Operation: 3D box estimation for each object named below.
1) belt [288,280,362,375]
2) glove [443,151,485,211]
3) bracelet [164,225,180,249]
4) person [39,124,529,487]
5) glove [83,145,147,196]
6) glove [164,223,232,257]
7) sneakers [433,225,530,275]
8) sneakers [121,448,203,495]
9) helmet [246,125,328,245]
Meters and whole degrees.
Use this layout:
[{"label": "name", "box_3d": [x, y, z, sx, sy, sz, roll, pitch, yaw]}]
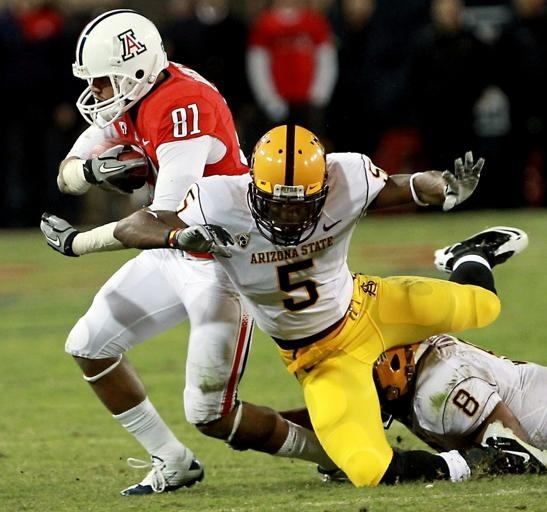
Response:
[{"label": "belt", "box_3d": [0.186, 0.275, 3.004, 0.282, 0.296, 0.103, 3, -20, 36]}, {"label": "glove", "box_3d": [0.691, -0.258, 2.930, 0.143, 0.268, 0.312, -1, 34, 11]}, {"label": "bracelet", "box_3d": [-0.339, -0.059, 2.739, 0.051, 0.063, 0.041, 44, 32, 20]}, {"label": "person", "box_3d": [0.022, 0.255, 3.515, 2.187, 1.337, 1.073, -22, 14, -8]}, {"label": "glove", "box_3d": [-0.604, -0.339, 3.205, 0.265, 0.154, 0.182, -1, -6, 26]}, {"label": "glove", "box_3d": [-0.247, -0.054, 2.719, 0.204, 0.056, 0.099, 6, -1, 10]}, {"label": "sneakers", "box_3d": [0.812, -0.054, 3.480, 0.511, 0.137, 0.194, -12, 7, 1]}, {"label": "sneakers", "box_3d": [-0.407, 0.822, 3.085, 0.329, 0.114, 0.132, -9, 14, -16]}, {"label": "helmet", "box_3d": [0.055, -0.257, 2.868, 0.348, 0.320, 0.385, 1, 48, 0]}]
